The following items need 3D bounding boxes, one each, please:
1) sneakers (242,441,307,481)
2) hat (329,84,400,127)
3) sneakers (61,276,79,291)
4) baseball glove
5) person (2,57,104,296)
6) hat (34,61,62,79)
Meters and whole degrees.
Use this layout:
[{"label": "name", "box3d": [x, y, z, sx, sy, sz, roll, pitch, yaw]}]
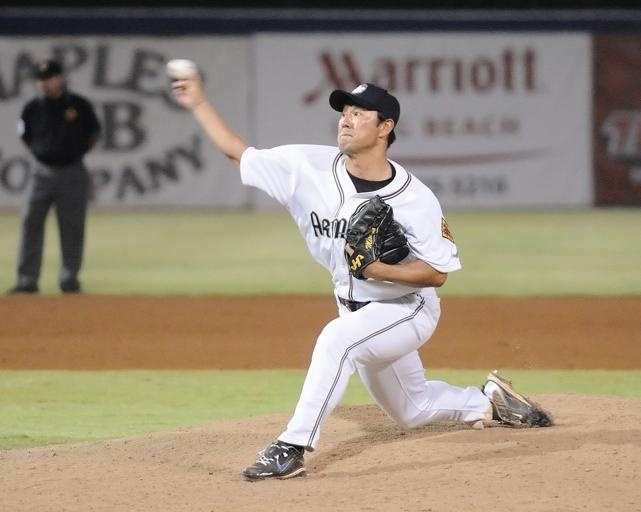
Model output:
[{"label": "sneakers", "box3d": [-0.290, 1.367, 7.864, 0.228, 0.210, 0.540, 0, 2, 36]}, {"label": "hat", "box3d": [0.315, -1.054, 8.032, 0.420, 0.188, 0.260, 27, 4, -15]}, {"label": "sneakers", "box3d": [-2.497, 0.294, 11.867, 0.150, 0.134, 0.148, 21, 12, 31]}, {"label": "baseball glove", "box3d": [0.371, -0.112, 7.826, 0.433, 0.514, 0.237, 0, -3, 10]}, {"label": "person", "box3d": [-2.529, -0.717, 11.415, 0.784, 2.290, 0.590, 3, 7, 3]}, {"label": "hat", "box3d": [-2.546, -1.756, 11.180, 0.227, 0.184, 0.217, 1, 7, -9]}]
